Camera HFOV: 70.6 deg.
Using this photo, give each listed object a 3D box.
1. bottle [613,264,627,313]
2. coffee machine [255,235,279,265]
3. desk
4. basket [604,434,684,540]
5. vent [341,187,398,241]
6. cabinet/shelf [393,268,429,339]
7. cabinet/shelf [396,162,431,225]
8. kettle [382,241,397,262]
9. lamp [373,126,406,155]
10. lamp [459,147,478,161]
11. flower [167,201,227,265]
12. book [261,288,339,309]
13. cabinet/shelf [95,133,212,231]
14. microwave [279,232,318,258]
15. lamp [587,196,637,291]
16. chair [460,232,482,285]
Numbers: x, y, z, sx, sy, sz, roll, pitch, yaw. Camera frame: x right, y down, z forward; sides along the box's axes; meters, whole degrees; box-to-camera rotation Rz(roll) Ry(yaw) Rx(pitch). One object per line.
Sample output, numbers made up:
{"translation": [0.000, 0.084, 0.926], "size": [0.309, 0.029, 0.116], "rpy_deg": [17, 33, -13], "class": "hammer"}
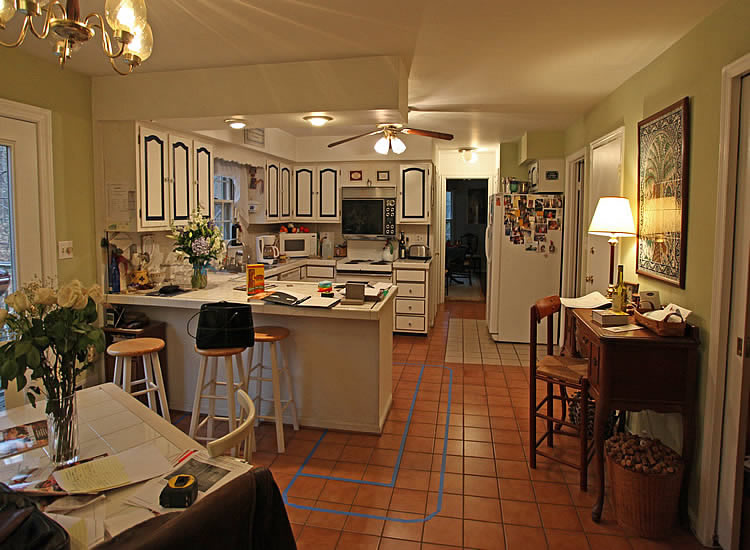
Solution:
{"translation": [1.688, 0.098, 3.634], "size": [0.085, 0.318, 0.209], "rpy_deg": [8, 14, 28], "class": "bottle"}
{"translation": [-1.344, -0.312, 6.571], "size": [0.348, 0.439, 0.319], "rpy_deg": [-2, 6, -6], "class": "coffee machine"}
{"translation": [1.661, 0.918, 3.947], "size": [0.616, 1.094, 1.646], "rpy_deg": [2, -1, 4], "class": "desk"}
{"translation": [1.666, 1.303, 3.305], "size": [0.437, 0.502, 0.490], "rpy_deg": [-13, 4, -15], "class": "basket"}
{"translation": [-0.090, -0.852, 7.145], "size": [0.753, 0.666, 0.235], "rpy_deg": [1, 13, -3], "class": "vent"}
{"translation": [0.402, 0.368, 7.008], "size": [0.562, 0.904, 0.665], "rpy_deg": [1, -9, 0], "class": "cabinet/shelf"}
{"translation": [0.611, -1.103, 7.254], "size": [0.521, 0.781, 0.579], "rpy_deg": [2, 9, 15], "class": "cabinet/shelf"}
{"translation": [0.207, -0.326, 7.378], "size": [0.254, 0.388, 0.270], "rpy_deg": [0, 7, 6], "class": "kettle"}
{"translation": [0.146, -1.297, 5.108], "size": [0.249, 0.241, 0.392], "rpy_deg": [3, 13, 5], "class": "lamp"}
{"translation": [1.424, -1.798, 7.969], "size": [0.248, 0.182, 0.196], "rpy_deg": [-12, 17, -28], "class": "lamp"}
{"translation": [-1.532, -0.300, 4.703], "size": [0.411, 0.508, 0.409], "rpy_deg": [4, 25, 29], "class": "flower"}
{"translation": [-0.566, 0.175, 4.118], "size": [0.600, 0.068, 0.385], "rpy_deg": [4, 13, 10], "class": "book"}
{"translation": [-2.021, -0.843, 5.006], "size": [0.397, 0.876, 1.182], "rpy_deg": [5, 7, 11], "class": "cabinet/shelf"}
{"translation": [-1.051, -0.391, 7.072], "size": [0.307, 0.282, 0.469], "rpy_deg": [2, 3, 38], "class": "microwave"}
{"translation": [1.818, -0.214, 4.079], "size": [0.300, 0.766, 0.967], "rpy_deg": [8, 14, 26], "class": "lamp"}
{"translation": [2.296, -0.481, 12.909], "size": [0.482, 1.080, 0.487], "rpy_deg": [4, 4, 28], "class": "chair"}
